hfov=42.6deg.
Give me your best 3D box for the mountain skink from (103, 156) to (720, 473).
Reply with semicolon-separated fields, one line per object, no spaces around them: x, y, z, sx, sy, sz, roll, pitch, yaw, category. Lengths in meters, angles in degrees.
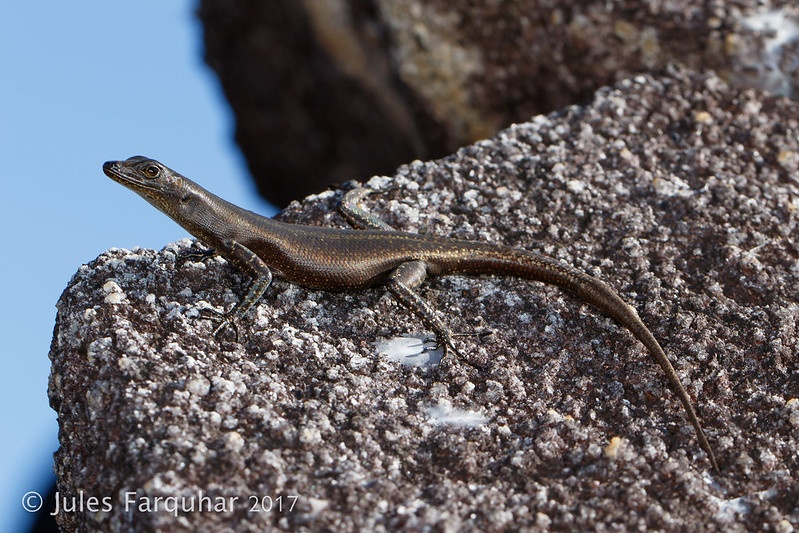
0.141;-0.199;9.235;5.485;1.214;2.484;6;27;-3;mountain skink
